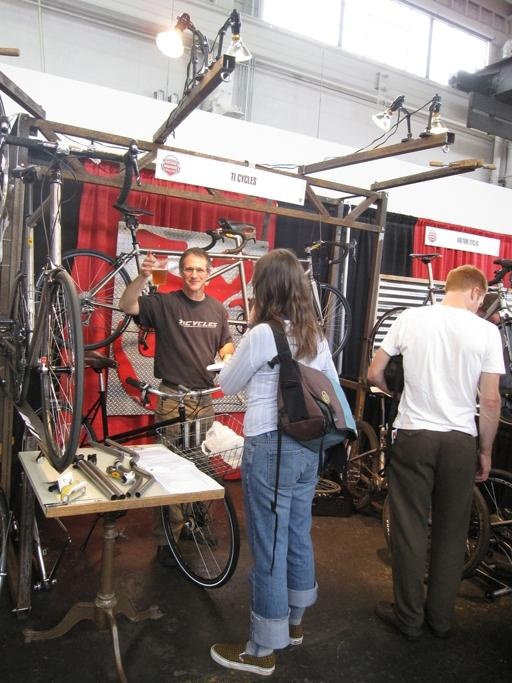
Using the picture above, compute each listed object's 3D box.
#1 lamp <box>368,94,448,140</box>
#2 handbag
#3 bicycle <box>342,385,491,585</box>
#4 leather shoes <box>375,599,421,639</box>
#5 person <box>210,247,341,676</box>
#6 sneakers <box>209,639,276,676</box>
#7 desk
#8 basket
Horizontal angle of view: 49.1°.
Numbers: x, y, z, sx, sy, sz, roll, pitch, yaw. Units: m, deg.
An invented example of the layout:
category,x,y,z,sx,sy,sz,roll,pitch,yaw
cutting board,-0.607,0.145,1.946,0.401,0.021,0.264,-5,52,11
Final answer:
category,x,y,z,sx,sy,sz,roll,pitch,yaw
lamp,1.313,-1.849,4.769,0.613,0.340,0.206,9,10,41
handbag,0.217,0.226,2.082,0.214,0.348,0.401,-18,-18,20
bicycle,0.914,0.828,4.125,0.737,0.899,1.556,1,-4,-7
leather shoes,0.645,1.254,2.552,0.072,0.076,0.191,-3,7,-18
person,0.051,0.477,2.089,0.390,1.418,0.382,5,1,17
sneakers,-0.062,1.192,2.179,0.275,0.101,0.108,8,-18,27
desk,-0.583,0.848,2.209,0.627,0.706,0.735,4,1,-28
basket,-0.251,0.484,2.602,0.330,0.159,0.492,1,10,-34
